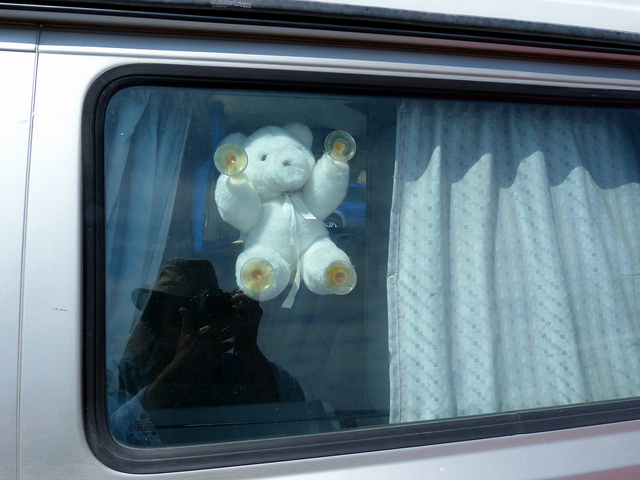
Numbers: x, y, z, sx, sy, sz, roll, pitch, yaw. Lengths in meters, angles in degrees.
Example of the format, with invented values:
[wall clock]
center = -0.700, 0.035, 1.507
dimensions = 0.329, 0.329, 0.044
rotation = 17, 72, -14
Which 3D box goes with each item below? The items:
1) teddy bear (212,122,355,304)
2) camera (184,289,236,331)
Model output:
[teddy bear]
center = -0.116, -0.116, 2.060
dimensions = 0.409, 0.580, 0.234
rotation = -8, -29, -17
[camera]
center = -0.302, 0.189, 1.979
dimensions = 0.103, 0.103, 0.133
rotation = -12, 18, -38
